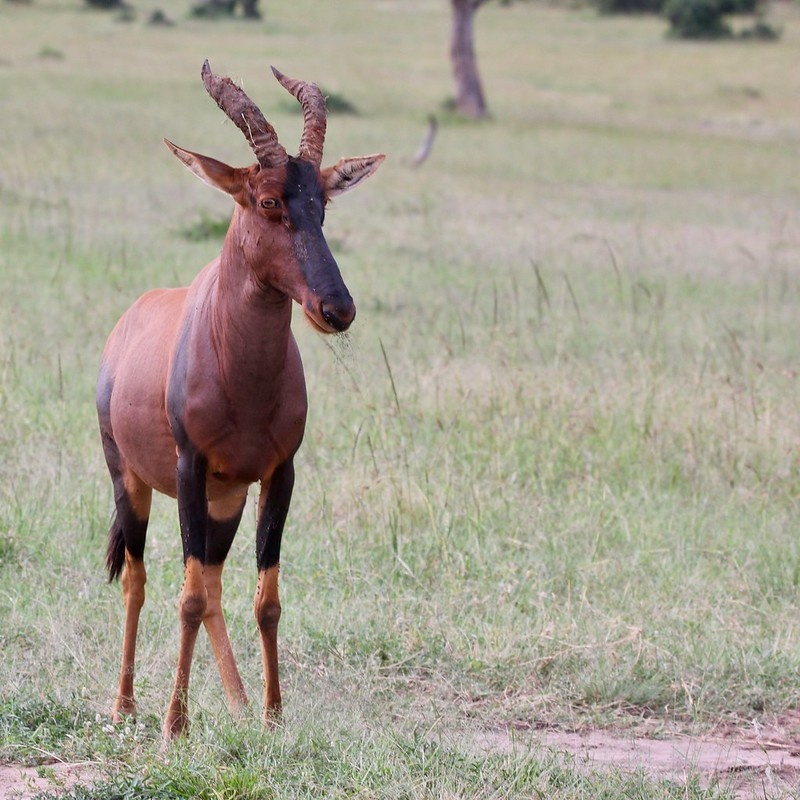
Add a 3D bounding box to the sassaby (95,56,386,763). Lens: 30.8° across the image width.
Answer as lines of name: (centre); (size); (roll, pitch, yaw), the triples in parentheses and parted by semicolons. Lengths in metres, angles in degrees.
sassaby: (-1.039, 0.280, 8.413); (0.914, 3.415, 3.825); (-6, -3, -24)
